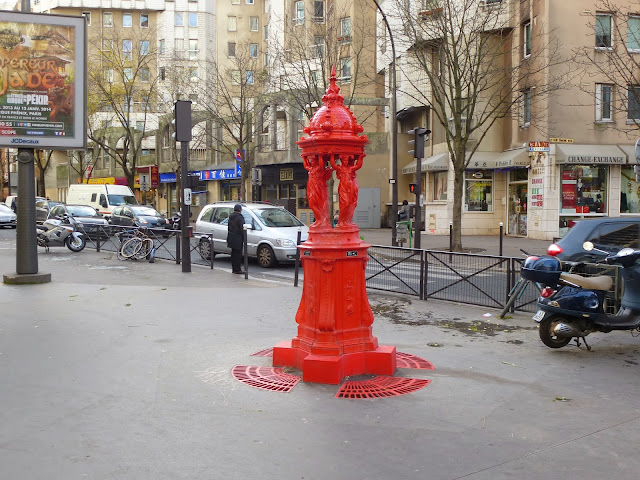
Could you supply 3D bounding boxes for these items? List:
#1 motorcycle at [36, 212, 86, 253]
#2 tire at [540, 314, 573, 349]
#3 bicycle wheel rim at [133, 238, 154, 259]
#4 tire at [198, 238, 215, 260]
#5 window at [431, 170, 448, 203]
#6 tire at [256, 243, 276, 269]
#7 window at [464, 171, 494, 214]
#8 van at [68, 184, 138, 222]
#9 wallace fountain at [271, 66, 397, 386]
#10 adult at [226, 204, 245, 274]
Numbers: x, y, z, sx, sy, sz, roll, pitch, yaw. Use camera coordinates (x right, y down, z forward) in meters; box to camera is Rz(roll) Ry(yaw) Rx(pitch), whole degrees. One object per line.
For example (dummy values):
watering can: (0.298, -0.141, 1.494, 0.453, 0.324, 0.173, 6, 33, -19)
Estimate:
motorcycle: (-8.311, -0.276, 23.138, 1.022, 1.278, 1.060, 3, 4, 32)
tire: (3.375, 1.276, 10.235, 0.487, 0.530, 0.187, 3, 7, -10)
bicycle wheel rim: (-5.148, 0.238, 21.125, 0.606, 0.595, 0.143, -2, -14, 24)
tire: (-3.176, 0.232, 20.314, 0.217, 0.592, 0.590, -3, 5, -42)
window: (5.641, -2.546, 33.565, 0.116, 1.505, 1.518, -1, 5, -18)
tire: (-1.413, 0.394, 19.223, 0.181, 0.501, 0.499, 1, 26, -41)
window: (6.994, -2.199, 31.653, 1.917, 2.561, 0.115, -1, 3, -21)
van: (-10.954, -1.844, 35.371, 3.764, 1.830, 1.990, -2, -1, 44)
wallace fountain: (0.193, -0.191, 9.106, 1.237, 3.862, 0.981, -5, 12, -24)
adult: (-2.125, -0.020, 18.197, 0.445, 1.543, 1.331, -2, 11, -7)
